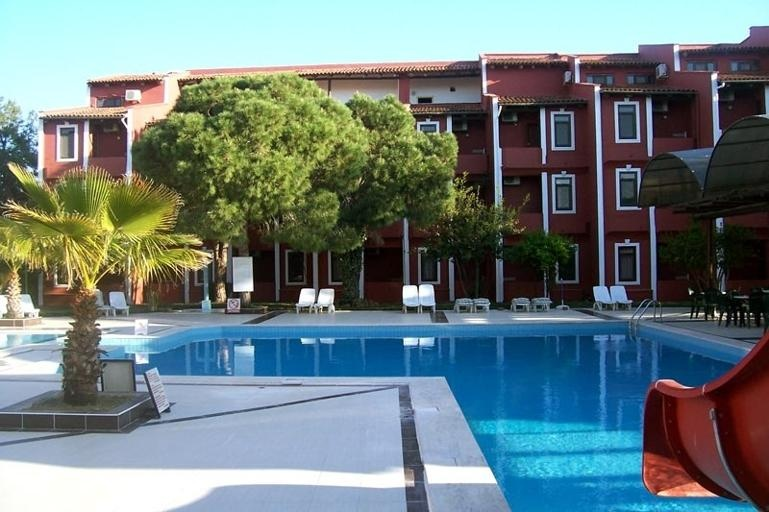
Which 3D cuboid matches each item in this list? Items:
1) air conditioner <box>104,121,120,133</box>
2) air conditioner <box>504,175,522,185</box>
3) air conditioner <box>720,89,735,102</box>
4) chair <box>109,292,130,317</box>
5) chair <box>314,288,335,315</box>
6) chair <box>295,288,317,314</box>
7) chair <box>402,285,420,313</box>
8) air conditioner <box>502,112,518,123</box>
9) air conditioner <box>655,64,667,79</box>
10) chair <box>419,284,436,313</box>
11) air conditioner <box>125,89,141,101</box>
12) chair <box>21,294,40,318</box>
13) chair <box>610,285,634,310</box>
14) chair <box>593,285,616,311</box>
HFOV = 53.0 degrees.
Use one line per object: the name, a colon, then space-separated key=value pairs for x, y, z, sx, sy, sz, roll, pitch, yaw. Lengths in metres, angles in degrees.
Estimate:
air conditioner: x=-12.781 y=-6.083 z=36.005 sx=0.770 sy=0.334 sz=0.710 roll=-1 pitch=-3 yaw=-4
air conditioner: x=5.780 y=-3.444 z=34.777 sx=0.660 sy=0.383 sz=0.463 roll=2 pitch=6 yaw=7
air conditioner: x=14.778 y=-6.964 z=33.204 sx=0.628 sy=0.637 sz=0.484 roll=-1 pitch=-35 yaw=7
chair: x=-10.013 y=1.762 z=28.869 sx=0.723 sy=1.044 sz=0.947 roll=1 pitch=-2 yaw=-38
chair: x=-2.237 y=1.691 z=29.407 sx=0.629 sy=0.860 sz=0.891 roll=0 pitch=-3 yaw=7
chair: x=-2.928 y=1.657 z=29.398 sx=0.673 sy=1.013 sz=0.888 roll=1 pitch=-6 yaw=7
chair: x=1.024 y=1.531 z=28.987 sx=0.611 sy=0.930 sz=0.933 roll=0 pitch=-3 yaw=-4
air conditioner: x=5.726 y=-6.356 z=34.872 sx=0.718 sy=0.412 sz=0.523 roll=1 pitch=-5 yaw=4
air conditioner: x=12.614 y=-8.464 z=34.815 sx=0.494 sy=0.747 sz=0.612 roll=-2 pitch=-3 yaw=20
chair: x=1.610 y=1.540 z=29.147 sx=0.763 sy=1.208 sz=0.893 roll=1 pitch=-5 yaw=-7
air conditioner: x=-11.705 y=-7.525 z=35.893 sx=0.793 sy=0.626 sz=0.448 roll=0 pitch=-4 yaw=-3
chair: x=-12.288 y=1.695 z=26.564 sx=0.613 sy=0.715 sz=1.588 roll=0 pitch=-1 yaw=-39
chair: x=9.167 y=1.557 z=29.743 sx=0.685 sy=0.780 sz=1.046 roll=-1 pitch=-4 yaw=1
chair: x=8.477 y=1.596 z=29.596 sx=0.622 sy=0.837 sz=0.963 roll=0 pitch=-5 yaw=-3
